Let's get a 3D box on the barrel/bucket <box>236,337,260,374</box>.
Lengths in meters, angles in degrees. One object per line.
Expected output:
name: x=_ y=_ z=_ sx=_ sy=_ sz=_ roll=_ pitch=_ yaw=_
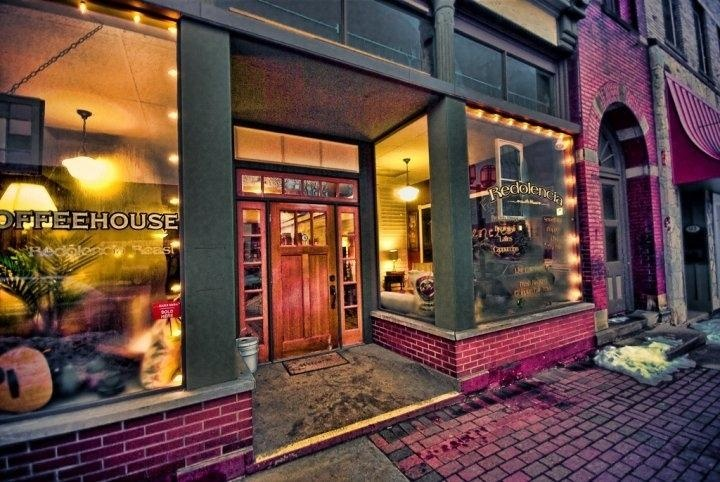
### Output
barrel/bucket: x=-1.796 y=1.799 z=8.197 sx=0.568 sy=0.545 sz=0.558 roll=-2 pitch=-3 yaw=0

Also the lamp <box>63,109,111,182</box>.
lamp: x=-3.639 y=-1.175 z=6.671 sx=0.519 sy=0.834 sz=0.185 roll=-4 pitch=-1 yaw=-24

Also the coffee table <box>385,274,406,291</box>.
coffee table: x=0.891 y=1.069 z=13.189 sx=0.577 sy=0.518 sz=0.451 roll=0 pitch=-11 yaw=-4

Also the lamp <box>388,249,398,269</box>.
lamp: x=0.938 y=0.505 z=14.018 sx=0.216 sy=0.540 sz=0.451 roll=-5 pitch=0 yaw=27
